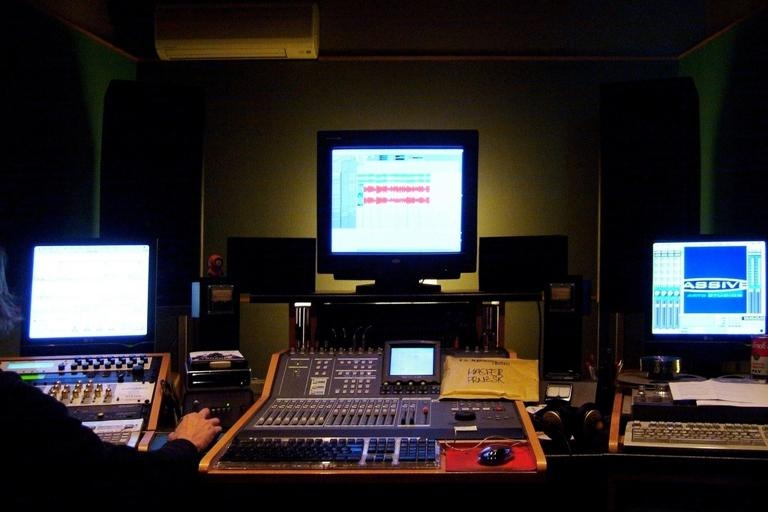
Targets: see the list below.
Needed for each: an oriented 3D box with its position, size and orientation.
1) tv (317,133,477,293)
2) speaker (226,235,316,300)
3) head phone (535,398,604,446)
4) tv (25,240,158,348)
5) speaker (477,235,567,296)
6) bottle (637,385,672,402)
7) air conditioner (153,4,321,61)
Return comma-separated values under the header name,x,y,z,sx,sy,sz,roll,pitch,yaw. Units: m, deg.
name,x,y,z,sx,sy,sz,roll,pitch,yaw
tv,0.075,-0.299,3.888,1.043,0.914,0.519,0,0,1
speaker,-0.624,0.075,4.020,0.583,0.348,0.305,-1,-3,12
head phone,0.923,0.915,3.620,0.267,0.161,0.328,3,-11,-22
tv,-1.723,0.229,3.788,0.677,0.525,0.225,0,-3,-4
speaker,0.917,0.053,3.994,0.580,0.341,0.310,0,0,38
bottle,1.460,0.756,3.566,0.103,0.024,0.111,-3,6,0
air conditioner,-1.023,-1.576,4.608,1.095,0.394,0.289,1,0,-4
